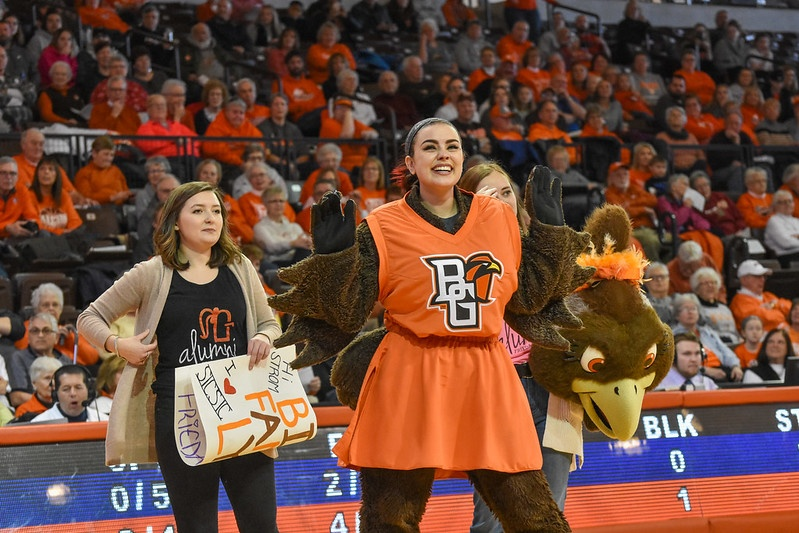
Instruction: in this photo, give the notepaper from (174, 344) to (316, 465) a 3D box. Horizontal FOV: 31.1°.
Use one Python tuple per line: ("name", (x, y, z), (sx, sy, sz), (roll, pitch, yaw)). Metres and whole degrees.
("notepaper", (-1.267, 1.172, 11.655), (0.463, 0.845, 1.206), (0, 3, 39))
